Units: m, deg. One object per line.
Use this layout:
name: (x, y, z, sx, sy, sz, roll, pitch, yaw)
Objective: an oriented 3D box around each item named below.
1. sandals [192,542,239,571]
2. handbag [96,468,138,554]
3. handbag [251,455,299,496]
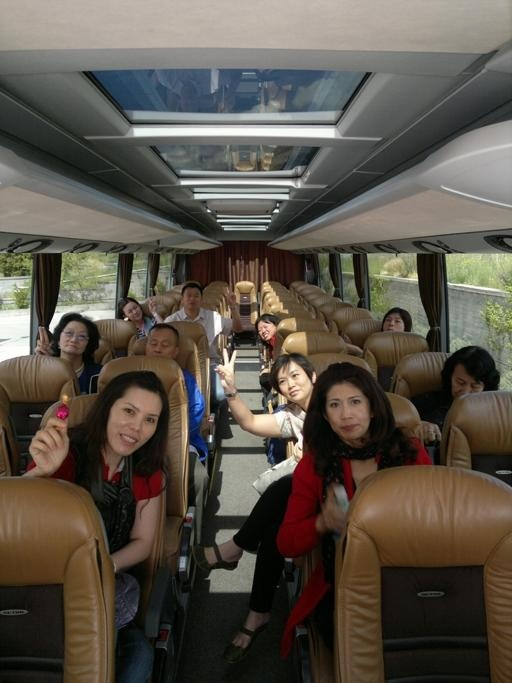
sandals: (-0.228, 1.217, 2.723, 0.262, 0.128, 0.106, 9, -28, -2)
handbag: (-0.548, 0.651, 1.859, 0.102, 0.235, 0.184, 11, 3, 39)
handbag: (0.113, 0.810, 2.946, 0.308, 0.099, 0.223, -37, -6, -9)
